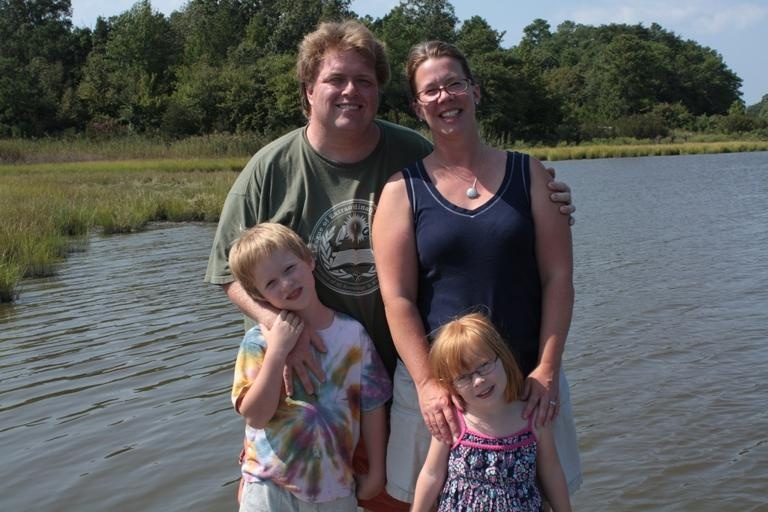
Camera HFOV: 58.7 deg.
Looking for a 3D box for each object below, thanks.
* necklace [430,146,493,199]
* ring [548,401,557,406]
[{"bbox_3d":[0.631,-0.704,5.710,0.398,0.485,0.146,-40,1,-16],"label":"necklace"},{"bbox_3d":[1.365,1.196,5.522,0.036,0.053,0.014,-8,1,1],"label":"ring"}]
